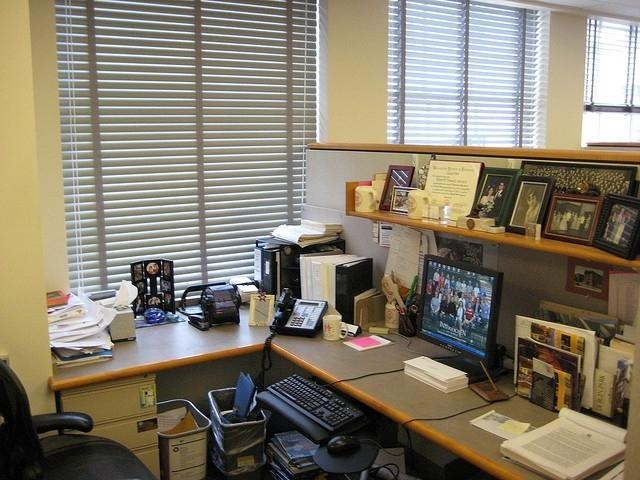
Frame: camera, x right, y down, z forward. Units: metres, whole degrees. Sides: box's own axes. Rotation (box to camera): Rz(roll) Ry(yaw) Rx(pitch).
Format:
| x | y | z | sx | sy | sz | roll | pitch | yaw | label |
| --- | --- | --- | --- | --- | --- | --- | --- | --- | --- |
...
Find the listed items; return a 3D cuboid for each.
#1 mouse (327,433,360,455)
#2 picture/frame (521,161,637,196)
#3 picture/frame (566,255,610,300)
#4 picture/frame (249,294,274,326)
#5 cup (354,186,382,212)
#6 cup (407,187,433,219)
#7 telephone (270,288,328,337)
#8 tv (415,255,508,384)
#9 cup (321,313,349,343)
| x | y | z | sx | sy | sz | roll | pitch | yaw | label |
| --- | --- | --- | --- | --- | --- | --- | --- | --- | --- |
| 0.092 | 0.828 | 1.999 | 0.118 | 0.040 | 0.060 | -6 | 11 | -34 | mouse |
| 1.035 | -0.255 | 2.028 | 0.083 | 0.116 | 0.461 | -14 | 18 | -37 | picture/frame |
| 1.110 | 0.155 | 2.042 | 0.011 | 0.137 | 0.194 | -5 | 11 | -34 | picture/frame |
| -0.343 | 0.424 | 2.954 | 0.187 | 0.210 | 0.043 | 3 | 4 | 6 | picture/frame |
| 0.252 | -0.220 | 2.716 | 0.108 | 0.133 | 0.159 | -3 | 9 | -21 | cup |
| 0.488 | -0.171 | 2.451 | 0.105 | 0.135 | 0.101 | -3 | 15 | 1 | cup |
| -0.122 | 0.406 | 2.824 | 0.309 | 0.165 | 0.303 | -2 | 27 | 8 | telephone |
| 0.662 | 0.371 | 2.273 | 0.220 | 0.534 | 0.497 | -8 | 13 | -36 | tv |
| 0.067 | 0.477 | 2.655 | 0.089 | 0.100 | 0.141 | -6 | 11 | -38 | cup |
